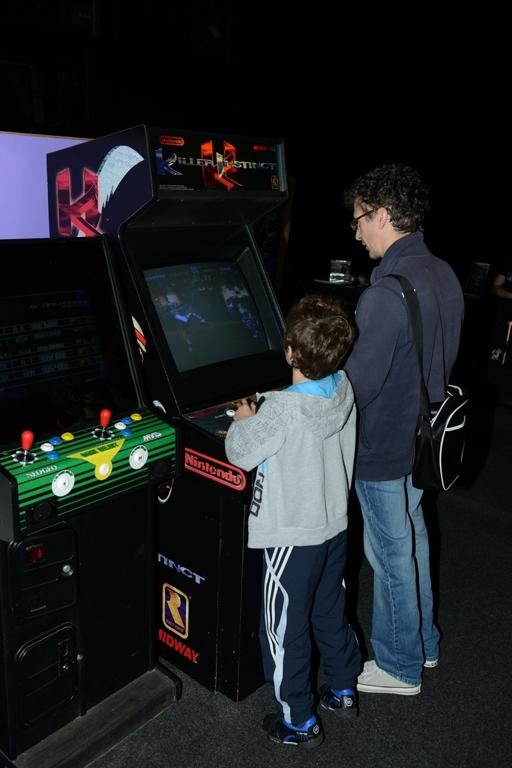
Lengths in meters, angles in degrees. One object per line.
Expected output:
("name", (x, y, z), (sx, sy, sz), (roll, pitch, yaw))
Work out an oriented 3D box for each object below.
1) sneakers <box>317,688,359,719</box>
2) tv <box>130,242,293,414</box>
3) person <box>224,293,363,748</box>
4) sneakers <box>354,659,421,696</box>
("sneakers", (0.238, 0.890, 1.666), (0.052, 0.062, 0.138), (-2, 2, -17))
("tv", (-0.141, -0.156, 1.694), (0.236, 0.489, 0.347), (-15, 11, 46))
("person", (0.115, 0.371, 1.430), (0.226, 1.162, 0.424), (8, 11, 30))
("sneakers", (0.390, 0.858, 1.753), (0.199, 0.092, 0.083), (5, 4, 7))
